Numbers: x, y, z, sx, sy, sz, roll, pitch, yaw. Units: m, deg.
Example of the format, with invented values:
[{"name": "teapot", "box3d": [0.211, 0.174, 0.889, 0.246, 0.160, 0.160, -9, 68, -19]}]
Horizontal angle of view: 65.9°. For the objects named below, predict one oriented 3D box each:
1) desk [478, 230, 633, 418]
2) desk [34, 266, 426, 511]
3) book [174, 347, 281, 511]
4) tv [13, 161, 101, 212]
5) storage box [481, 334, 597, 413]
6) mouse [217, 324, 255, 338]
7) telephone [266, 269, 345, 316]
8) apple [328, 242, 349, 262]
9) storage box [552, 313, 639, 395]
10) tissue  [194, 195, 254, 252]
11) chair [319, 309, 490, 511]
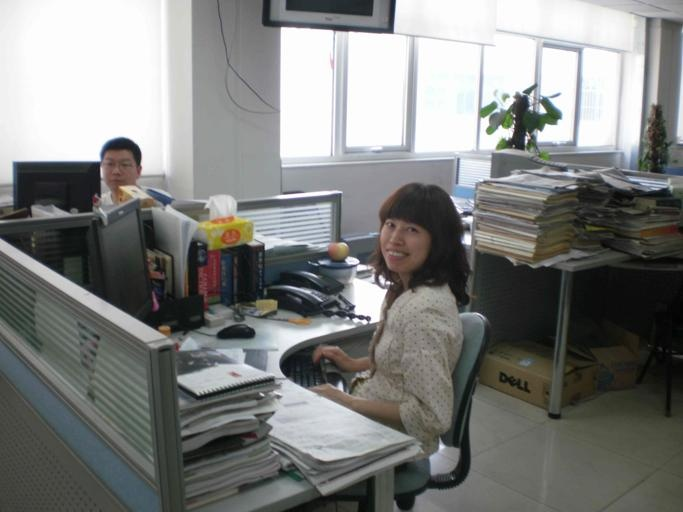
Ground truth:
[{"name": "desk", "box3d": [1.339, 0.319, 3.451, 0.862, 0.847, 0.868, -13, 19, -41]}, {"name": "desk", "box3d": [-0.312, 0.382, 1.503, 0.638, 0.244, 0.972, -7, 27, -29]}, {"name": "book", "box3d": [-0.259, 0.422, 1.374, 0.307, 0.161, 0.298, -9, 17, -34]}, {"name": "tv", "box3d": [-1.397, -0.337, 2.609, 0.389, 0.255, 0.075, -8, 17, -29]}, {"name": "storage box", "box3d": [1.173, 0.728, 3.264, 0.578, 0.232, 0.603, -13, 20, -42]}, {"name": "mouse", "box3d": [-0.426, 0.304, 2.128, 0.102, 0.035, 0.063, 2, 1, -15]}, {"name": "telephone", "box3d": [-0.186, 0.168, 2.452, 0.251, 0.086, 0.215, 13, 18, 28]}, {"name": "apple", "box3d": [-0.018, -0.025, 2.728, 0.088, 0.095, 0.090, -6, 10, -26]}, {"name": "storage box", "box3d": [1.668, 0.618, 3.547, 0.449, 0.301, 0.468, -4, 10, -18]}, {"name": "tissue ", "box3d": [-0.525, -0.156, 2.347, 0.229, 0.233, 0.124, -11, 16, -41]}, {"name": "chair", "box3d": [0.154, 0.485, 1.975, 0.624, 0.788, 0.489, 0, 3, -10]}]
